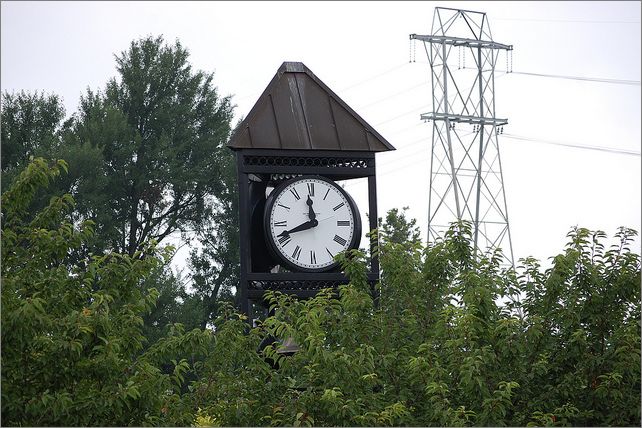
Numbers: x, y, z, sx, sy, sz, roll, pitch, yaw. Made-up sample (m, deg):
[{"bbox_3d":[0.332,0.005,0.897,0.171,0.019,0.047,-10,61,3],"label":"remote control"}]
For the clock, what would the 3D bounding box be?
[{"bbox_3d":[-0.088,0.160,14.267,1.486,1.587,0.227,3,9,21],"label":"clock"}]
